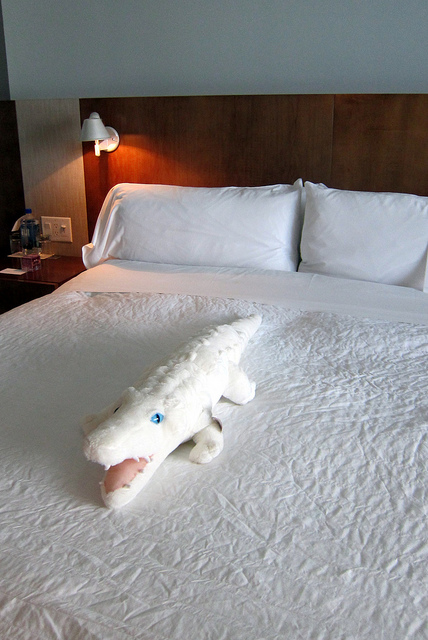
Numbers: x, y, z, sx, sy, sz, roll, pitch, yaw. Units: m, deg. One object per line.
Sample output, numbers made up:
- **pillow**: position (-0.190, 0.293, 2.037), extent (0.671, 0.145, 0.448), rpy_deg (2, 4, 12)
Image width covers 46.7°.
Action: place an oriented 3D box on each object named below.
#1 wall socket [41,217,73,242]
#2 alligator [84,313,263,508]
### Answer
- **wall socket**: position (-0.877, -0.514, 2.790), extent (0.138, 0.118, 0.019), rpy_deg (7, 24, 16)
- **alligator**: position (-0.042, 0.151, 0.932), extent (0.164, 0.135, 0.523), rpy_deg (5, 20, 18)
